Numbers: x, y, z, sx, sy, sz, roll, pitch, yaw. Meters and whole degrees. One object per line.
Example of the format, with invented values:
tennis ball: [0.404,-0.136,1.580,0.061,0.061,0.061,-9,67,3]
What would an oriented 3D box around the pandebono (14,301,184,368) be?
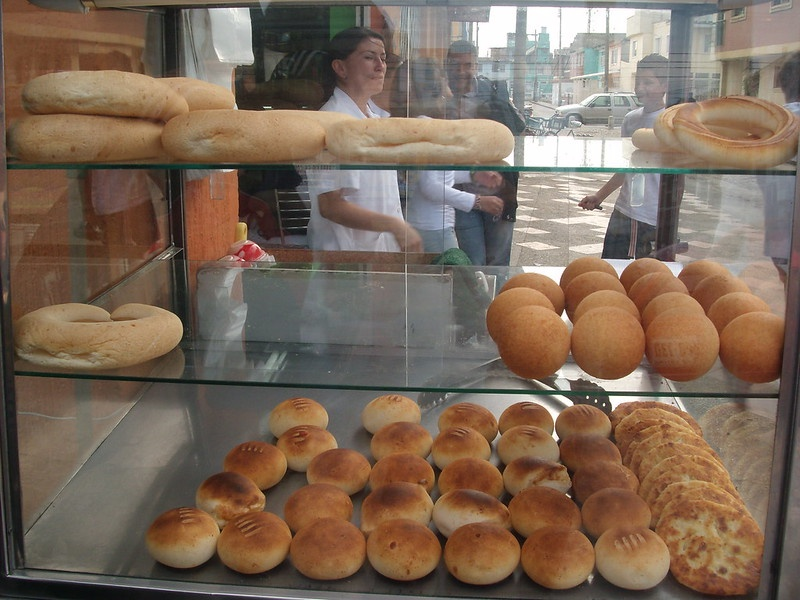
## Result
pandebono: [-0.514,0.062,1.079,0.219,0.098,0.191,1,17,8]

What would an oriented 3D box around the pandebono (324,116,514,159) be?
pandebono: [0.028,-0.252,0.974,0.300,0.074,0.060,0,18,4]
